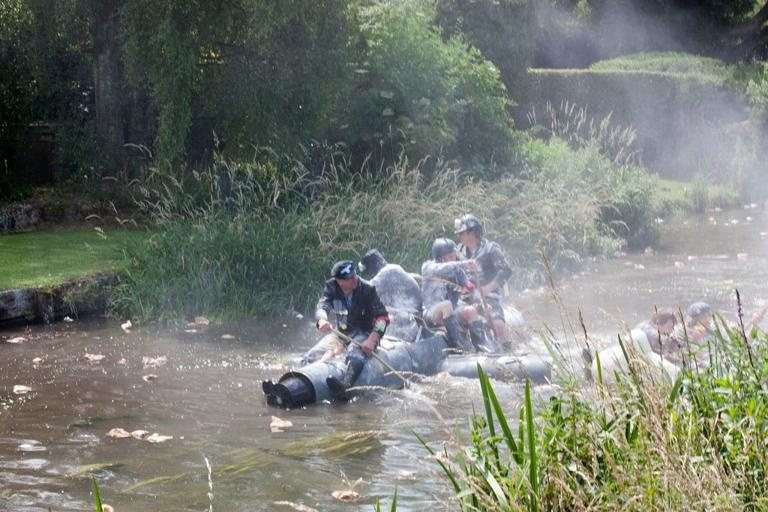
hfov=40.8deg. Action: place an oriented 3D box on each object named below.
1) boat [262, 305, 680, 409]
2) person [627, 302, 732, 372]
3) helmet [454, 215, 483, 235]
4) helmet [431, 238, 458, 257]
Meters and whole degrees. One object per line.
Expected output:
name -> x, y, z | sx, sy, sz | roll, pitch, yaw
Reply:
boat -> 0.343, 1.857, 18.614 | 4.748, 1.430, 2.389 | -5, 3, 17
person -> 5.137, 1.255, 17.984 | 1.299, 1.347, 0.508 | -39, -29, 28
helmet -> 1.664, -0.601, 20.220 | 0.422, 0.292, 0.343 | -1, -7, -20
helmet -> 1.154, -0.172, 19.884 | 0.374, 0.419, 0.319 | -11, 15, -11
